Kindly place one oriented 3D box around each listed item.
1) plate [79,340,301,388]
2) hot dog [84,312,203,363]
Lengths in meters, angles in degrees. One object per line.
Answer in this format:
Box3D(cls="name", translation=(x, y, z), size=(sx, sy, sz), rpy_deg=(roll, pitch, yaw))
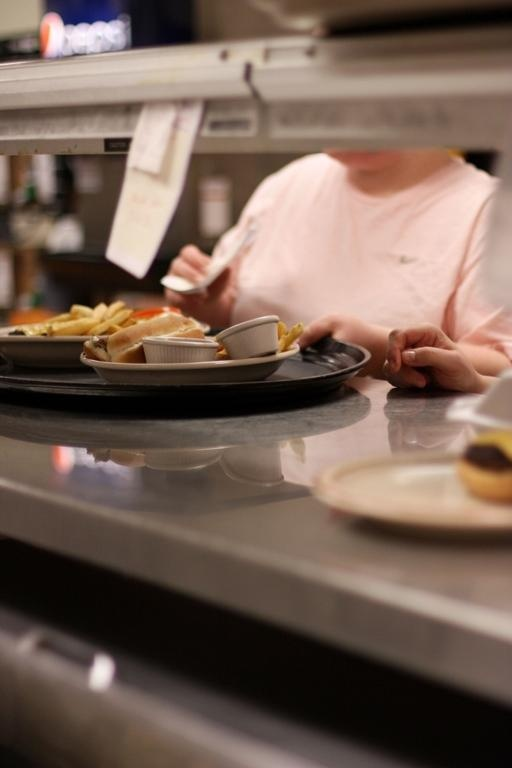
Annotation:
Box3D(cls="plate", translation=(-0.064, -0.022, 0.599), size=(0.200, 0.026, 0.060), rpy_deg=(4, 8, 20))
Box3D(cls="hot dog", translation=(-0.108, -0.043, 0.672), size=(0.086, 0.024, 0.059), rpy_deg=(-18, 3, -11))
